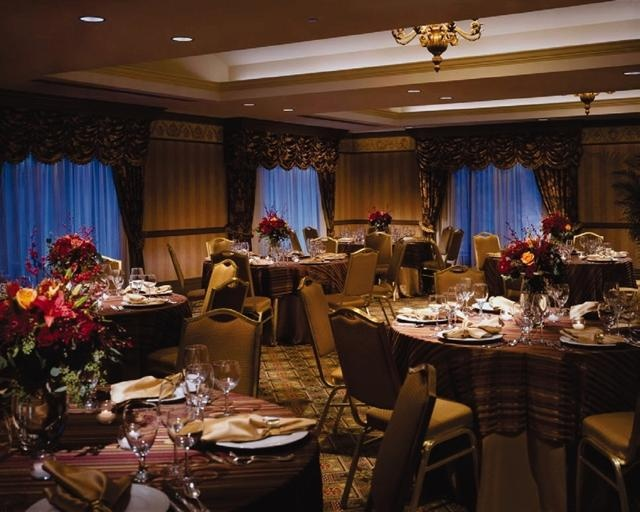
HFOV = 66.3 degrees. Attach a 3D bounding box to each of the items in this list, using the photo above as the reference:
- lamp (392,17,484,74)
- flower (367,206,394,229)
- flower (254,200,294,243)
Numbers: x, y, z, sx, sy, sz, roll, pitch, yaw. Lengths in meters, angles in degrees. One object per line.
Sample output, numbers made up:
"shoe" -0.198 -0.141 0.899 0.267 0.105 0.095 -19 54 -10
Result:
"lamp" 1.229 -2.344 5.185 0.928 0.628 0.975 -2 31 5
"flower" 1.362 -0.762 10.919 0.605 0.664 0.623 -1 3 -23
"flower" -0.717 -0.463 7.638 0.438 0.632 0.485 5 3 3
